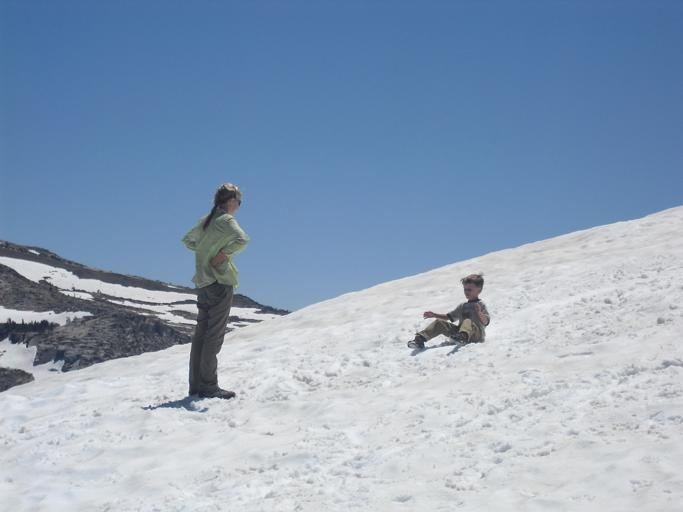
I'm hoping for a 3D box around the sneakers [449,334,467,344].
[{"bbox_3d":[1.879,1.336,11.725,0.232,0.061,0.152,4,1,-24],"label":"sneakers"}]

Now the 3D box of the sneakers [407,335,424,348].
[{"bbox_3d":[1.258,1.432,12.137,0.284,0.238,0.316,14,-1,8],"label":"sneakers"}]
